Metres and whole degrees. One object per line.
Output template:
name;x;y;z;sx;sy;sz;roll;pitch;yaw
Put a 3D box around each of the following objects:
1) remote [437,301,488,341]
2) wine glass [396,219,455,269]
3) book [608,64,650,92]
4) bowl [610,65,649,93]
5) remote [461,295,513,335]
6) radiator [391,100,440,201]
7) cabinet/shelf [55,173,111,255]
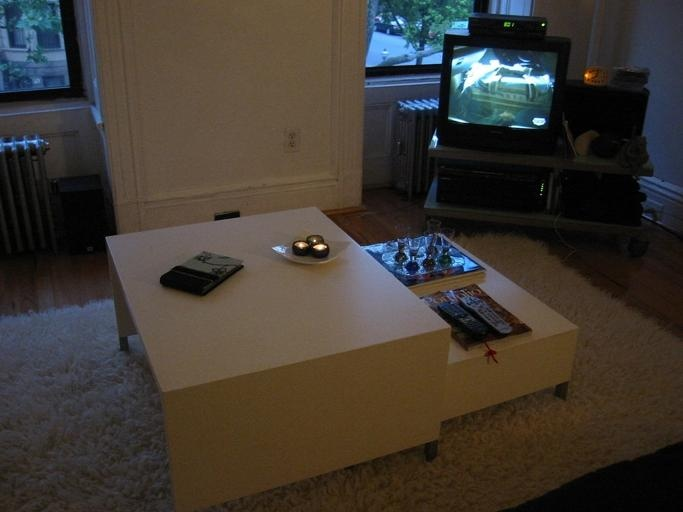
remote;0.500;0.253;2.271;0.093;0.053;0.206;-18;44;-28
wine glass;0.393;-0.032;2.606;0.227;0.104;0.242;-5;45;-3
book;1.928;-1.149;3.736;0.220;0.103;0.230;7;23;19
bowl;1.922;-1.185;3.729;0.219;0.130;0.307;11;26;22
remote;0.599;0.243;2.299;0.091;0.043;0.237;-10;38;-31
radiator;0.541;-0.816;4.320;0.553;0.684;0.244;9;12;39
cabinet/shelf;-1.656;-0.217;3.537;0.282;0.386;0.286;-9;4;-28
